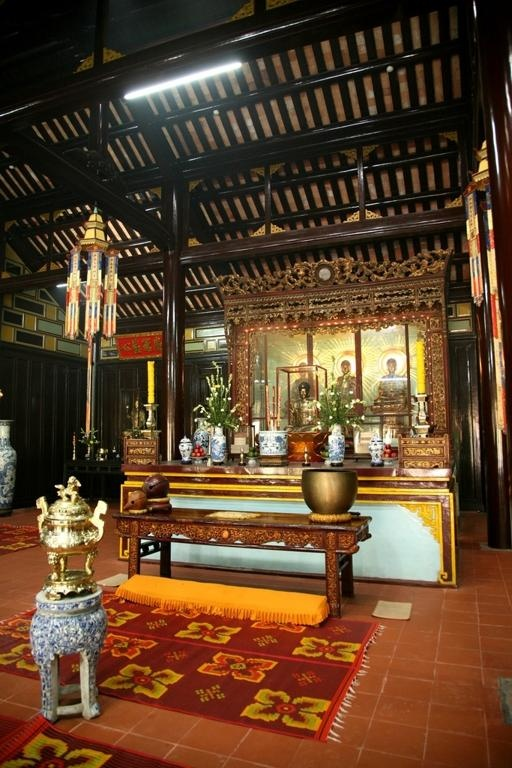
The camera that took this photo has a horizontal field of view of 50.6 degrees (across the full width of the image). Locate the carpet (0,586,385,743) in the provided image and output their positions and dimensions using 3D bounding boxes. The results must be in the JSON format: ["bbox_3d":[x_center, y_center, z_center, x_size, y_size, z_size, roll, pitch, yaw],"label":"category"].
[{"bbox_3d":[-0.166,1.080,2.170,1.172,0.026,0.953,-2,-7,22],"label":"carpet"}]

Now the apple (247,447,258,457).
[{"bbox_3d":[-0.024,0.558,4.407,0.038,0.056,0.091,-11,-6,-25],"label":"apple"}]

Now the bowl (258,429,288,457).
[{"bbox_3d":[0.126,0.461,4.187,0.193,0.143,0.194,0,-5,0],"label":"bowl"}]

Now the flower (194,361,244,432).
[{"bbox_3d":[-0.311,0.139,4.424,0.285,0.420,0.250,-4,16,-10],"label":"flower"}]

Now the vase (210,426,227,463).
[{"bbox_3d":[-0.302,0.483,4.239,0.114,0.278,0.168,1,-7,-6],"label":"vase"}]

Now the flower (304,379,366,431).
[{"bbox_3d":[0.695,0.164,4.487,0.440,0.546,0.498,2,-17,0],"label":"flower"}]

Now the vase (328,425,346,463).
[{"bbox_3d":[0.587,0.439,3.951,0.094,0.289,0.266,-1,-7,13],"label":"vase"}]

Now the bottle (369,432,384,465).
[{"bbox_3d":[0.854,0.468,3.853,0.101,0.218,0.304,-1,-7,11],"label":"bottle"}]
